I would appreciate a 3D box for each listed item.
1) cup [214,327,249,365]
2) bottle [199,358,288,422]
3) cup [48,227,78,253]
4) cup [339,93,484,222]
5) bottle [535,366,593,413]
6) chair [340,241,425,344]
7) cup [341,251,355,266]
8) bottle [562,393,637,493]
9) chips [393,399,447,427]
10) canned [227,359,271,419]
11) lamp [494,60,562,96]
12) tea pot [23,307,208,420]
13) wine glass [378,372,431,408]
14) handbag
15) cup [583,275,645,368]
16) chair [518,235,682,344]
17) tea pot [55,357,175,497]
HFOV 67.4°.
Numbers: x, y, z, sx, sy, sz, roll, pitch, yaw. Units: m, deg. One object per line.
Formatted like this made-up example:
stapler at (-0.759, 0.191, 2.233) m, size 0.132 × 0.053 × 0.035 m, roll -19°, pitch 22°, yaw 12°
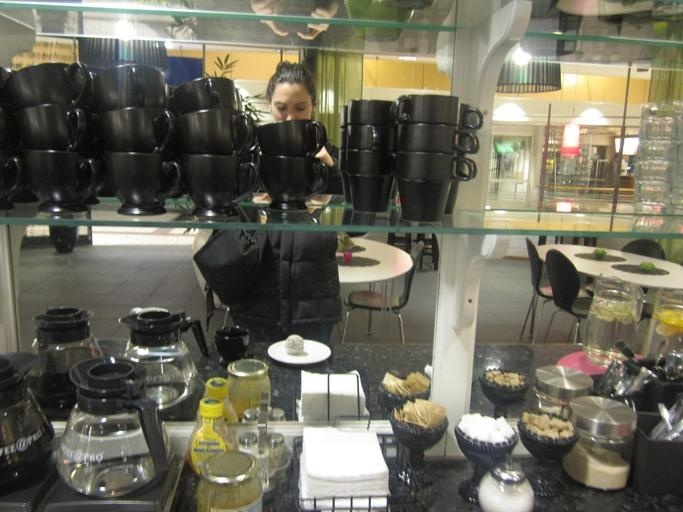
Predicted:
cup at (-0.281, 0.230, 1.321) m, size 0.083 × 0.081 × 0.093 m, roll 1°, pitch -1°, yaw -3°
bottle at (-0.226, 0.290, 1.180) m, size 0.167 × 0.178 × 0.121 m, roll 2°, pitch 3°, yaw -6°
cup at (-0.683, -0.041, 1.250) m, size 0.057 × 0.075 × 0.052 m, roll 0°, pitch -4°, yaw 0°
cup at (0.111, -0.189, 0.983) m, size 0.266 × 0.194 × 0.202 m, roll 3°, pitch 11°, yaw 5°
bottle at (0.507, 0.334, 1.239) m, size 0.092 × 0.059 × 0.092 m, roll 10°, pitch 4°, yaw -1°
chair at (0.142, 0.145, 1.880) m, size 0.242 × 0.380 × 0.226 m, roll 1°, pitch 12°, yaw 7°
cup at (0.019, 0.009, 1.980) m, size 0.045 × 0.057 × 0.048 m, roll 1°, pitch -2°, yaw 0°
bottle at (0.546, 0.399, 1.133) m, size 0.153 × 0.181 × 0.158 m, roll 0°, pitch 10°, yaw -4°
chips at (0.164, 0.319, 1.069) m, size 0.062 × 0.020 × 0.059 m, roll 2°, pitch 7°, yaw 31°
canned at (-0.224, 0.338, 1.226) m, size 0.104 × 0.156 × 0.106 m, roll 7°, pitch 18°, yaw 11°
lamp at (0.830, -0.771, 2.155) m, size 0.181 × 0.140 × 0.183 m, roll 5°, pitch 9°, yaw 16°
tea pot at (-0.520, 0.245, 1.223) m, size 0.361 × 0.175 × 0.218 m, roll 4°, pitch 11°, yaw -5°
wine glass at (0.144, 0.298, 1.166) m, size 0.074 × 0.049 × 0.085 m, roll 1°, pitch -5°, yaw 0°
handbag at (-0.402, -0.010, 1.894) m, size 0.233 × 0.363 × 0.305 m, roll 2°, pitch 35°, yaw -5°
cup at (0.767, 0.186, 1.463) m, size 0.174 × 0.235 × 0.145 m, roll 8°, pitch 8°, yaw 5°
chair at (1.743, 0.069, 3.426) m, size 0.860 × 0.601 × 0.928 m, roll -1°, pitch 11°, yaw -2°
tea pot at (-0.414, 0.335, 0.976) m, size 0.242 × 0.235 × 0.173 m, roll 7°, pitch 8°, yaw 33°
